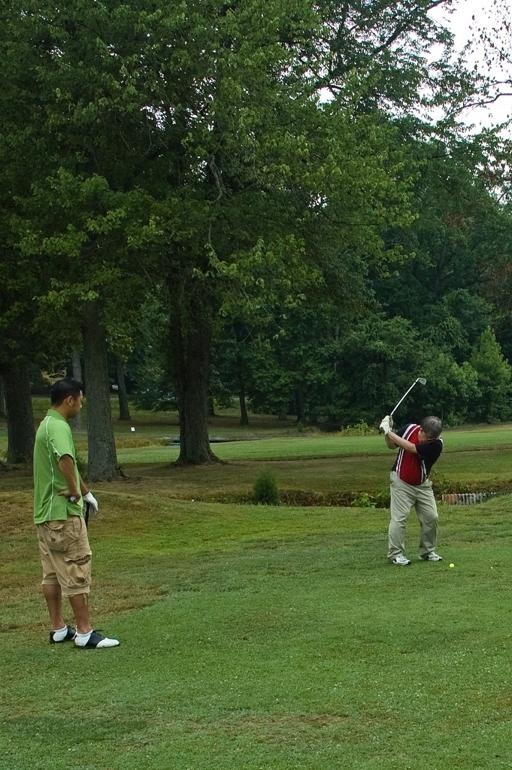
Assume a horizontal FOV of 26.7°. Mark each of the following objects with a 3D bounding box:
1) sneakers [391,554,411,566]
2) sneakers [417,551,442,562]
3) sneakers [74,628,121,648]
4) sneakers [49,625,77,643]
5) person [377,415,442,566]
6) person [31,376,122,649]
[{"bbox_3d":[1.413,1.732,10.606,0.079,0.089,0.202,-1,-8,-25],"label":"sneakers"},{"bbox_3d":[1.717,1.706,10.717,0.224,0.100,0.084,-4,3,34],"label":"sneakers"},{"bbox_3d":[-1.229,1.971,8.397,0.350,0.143,0.134,3,-2,-4],"label":"sneakers"},{"bbox_3d":[-1.528,2.002,8.639,0.103,0.091,0.218,3,4,20],"label":"sneakers"},{"bbox_3d":[1.541,0.995,10.768,0.606,1.503,0.559,-2,2,-5],"label":"person"},{"bbox_3d":[-1.439,1.023,8.546,0.650,2.066,0.890,0,-1,-24],"label":"person"}]
